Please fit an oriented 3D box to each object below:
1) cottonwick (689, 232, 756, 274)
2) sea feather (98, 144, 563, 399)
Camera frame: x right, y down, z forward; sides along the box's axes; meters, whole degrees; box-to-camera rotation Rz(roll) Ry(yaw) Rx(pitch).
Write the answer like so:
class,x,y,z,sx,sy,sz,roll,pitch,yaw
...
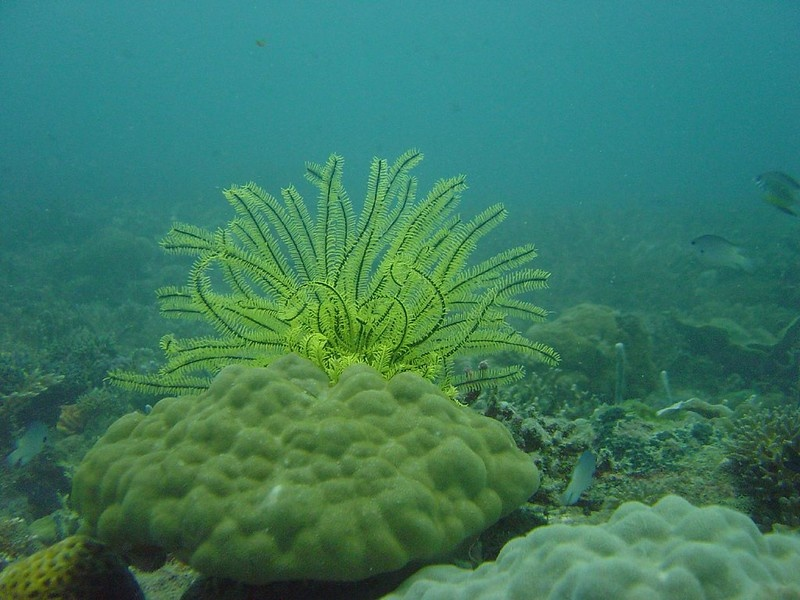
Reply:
class,x,y,z,sx,sy,sz,roll,pitch,yaw
cottonwick,5.117,-0.803,12.963,0.816,0.681,0.679,-6,11,-22
sea feather,-1.208,-0.395,12.438,5.365,3.900,4.122,-7,13,-34
